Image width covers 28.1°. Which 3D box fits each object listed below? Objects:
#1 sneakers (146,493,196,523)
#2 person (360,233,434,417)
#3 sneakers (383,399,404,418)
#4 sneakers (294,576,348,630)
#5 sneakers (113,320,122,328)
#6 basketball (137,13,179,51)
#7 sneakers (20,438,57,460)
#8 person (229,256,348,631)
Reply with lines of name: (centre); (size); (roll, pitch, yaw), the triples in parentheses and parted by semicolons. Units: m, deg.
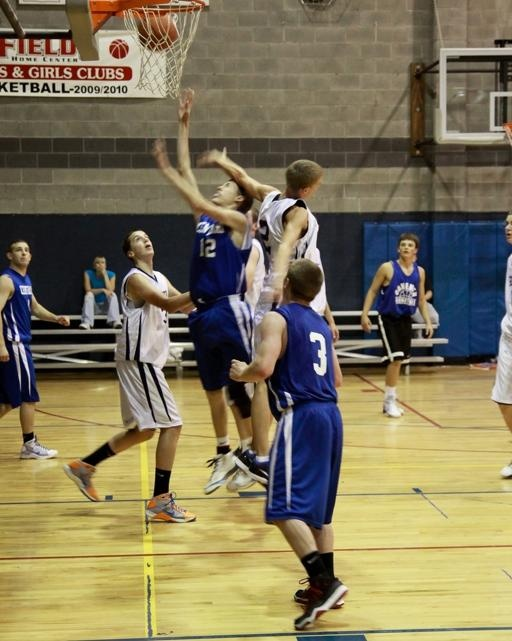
sneakers: (-0.482, 1.132, 6.223); (0.363, 0.210, 0.134); (4, -1, -8)
person: (1.318, 0.020, 9.468); (0.630, 1.676, 1.233); (2, 8, 9)
sneakers: (1.224, 0.776, 9.086); (0.174, 0.149, 0.255); (2, 9, 8)
sneakers: (0.320, 1.364, 4.912); (0.123, 0.261, 0.091); (38, 34, -1)
sneakers: (-1.568, 0.044, 11.672); (0.076, 0.094, 0.231); (0, -12, -12)
basketball: (-0.770, -2.302, 8.136); (0.281, 0.253, 0.321); (2, -8, -9)
sneakers: (-1.605, 0.961, 7.619); (0.289, 0.179, 0.118); (2, 0, -10)
person: (0.187, 0.592, 4.957); (0.507, 1.738, 0.505); (0, 8, -2)
